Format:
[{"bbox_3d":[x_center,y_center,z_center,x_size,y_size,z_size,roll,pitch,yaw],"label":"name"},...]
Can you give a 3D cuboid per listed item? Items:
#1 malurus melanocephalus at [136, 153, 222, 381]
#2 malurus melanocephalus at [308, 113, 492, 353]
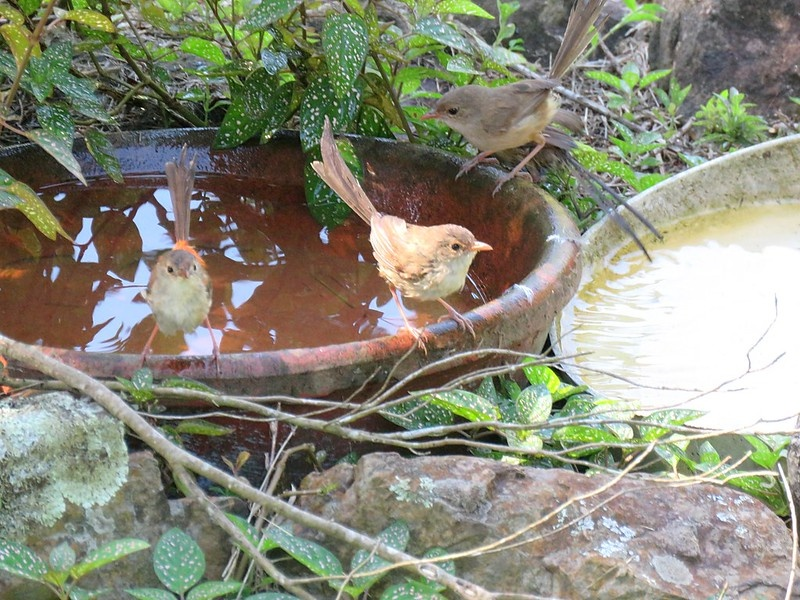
[{"bbox_3d":[-0.892,-0.138,3.588,0.383,0.731,0.969,2,42,-12],"label":"malurus melanocephalus"},{"bbox_3d":[-0.011,-0.302,3.800,0.947,0.847,0.321,28,43,35],"label":"malurus melanocephalus"}]
